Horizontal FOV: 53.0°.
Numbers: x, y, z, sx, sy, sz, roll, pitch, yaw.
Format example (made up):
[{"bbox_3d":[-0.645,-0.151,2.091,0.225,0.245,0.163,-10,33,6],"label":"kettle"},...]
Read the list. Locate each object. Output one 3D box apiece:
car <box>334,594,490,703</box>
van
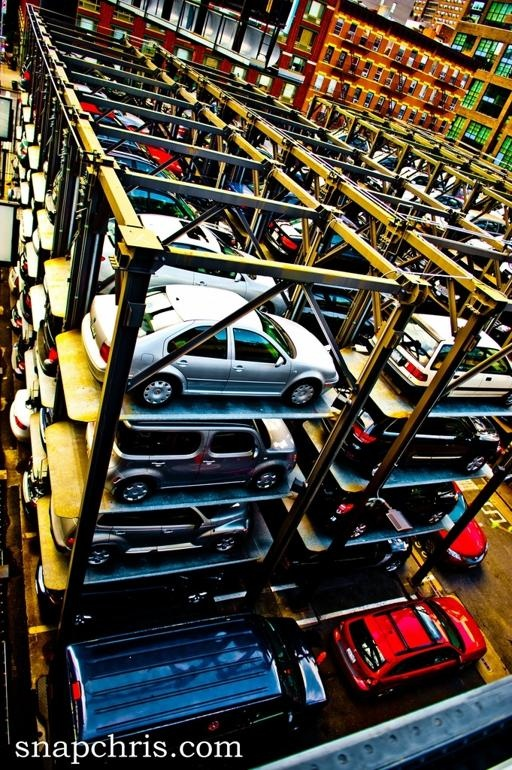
[{"bbox_3d":[2.654,4.571,9.057,2.621,1.099,1.296,-12,51,-22],"label":"car"},{"bbox_3d":[-0.803,3.860,6.853,3.329,1.670,1.832,-4,63,-30],"label":"van"}]
